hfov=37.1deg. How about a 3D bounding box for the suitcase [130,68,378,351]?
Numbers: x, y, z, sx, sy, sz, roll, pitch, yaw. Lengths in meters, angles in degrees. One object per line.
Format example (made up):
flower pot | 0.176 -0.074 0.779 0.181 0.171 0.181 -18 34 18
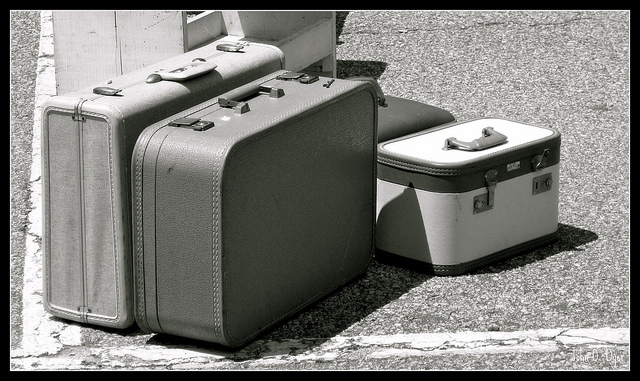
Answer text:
suitcase | -0.361 0.103 4.577 0.525 1.029 1.335 20 31 35

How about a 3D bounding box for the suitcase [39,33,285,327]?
suitcase | -0.739 0.009 4.561 0.553 1.149 1.471 25 34 31

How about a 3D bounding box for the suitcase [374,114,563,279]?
suitcase | 0.778 -0.014 5.397 1.129 0.548 0.780 -16 25 -41

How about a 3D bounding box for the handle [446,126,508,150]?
handle | 0.858 -0.277 5.078 0.329 0.061 0.167 -21 31 -35

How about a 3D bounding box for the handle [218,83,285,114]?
handle | -0.372 -0.453 4.678 0.207 0.055 0.281 15 30 41
